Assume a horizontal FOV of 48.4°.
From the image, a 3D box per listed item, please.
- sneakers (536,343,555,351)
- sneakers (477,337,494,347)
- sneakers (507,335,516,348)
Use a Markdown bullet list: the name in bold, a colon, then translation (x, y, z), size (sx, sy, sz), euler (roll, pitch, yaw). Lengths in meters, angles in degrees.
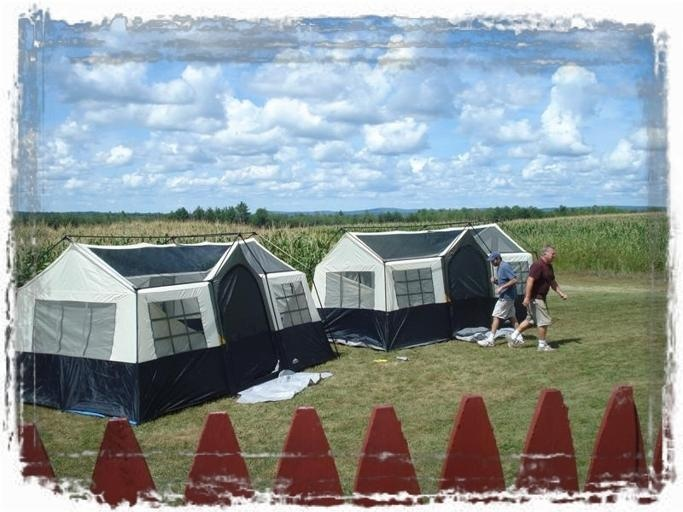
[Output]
- **sneakers**: translation (4.216, 1.858, 15.664), size (0.340, 0.167, 0.139), euler (1, 5, -10)
- **sneakers**: translation (3.113, 1.848, 16.440), size (0.360, 0.178, 0.149), euler (1, 2, 10)
- **sneakers**: translation (3.603, 1.786, 16.122), size (0.122, 0.203, 0.171), euler (-28, 45, -26)
